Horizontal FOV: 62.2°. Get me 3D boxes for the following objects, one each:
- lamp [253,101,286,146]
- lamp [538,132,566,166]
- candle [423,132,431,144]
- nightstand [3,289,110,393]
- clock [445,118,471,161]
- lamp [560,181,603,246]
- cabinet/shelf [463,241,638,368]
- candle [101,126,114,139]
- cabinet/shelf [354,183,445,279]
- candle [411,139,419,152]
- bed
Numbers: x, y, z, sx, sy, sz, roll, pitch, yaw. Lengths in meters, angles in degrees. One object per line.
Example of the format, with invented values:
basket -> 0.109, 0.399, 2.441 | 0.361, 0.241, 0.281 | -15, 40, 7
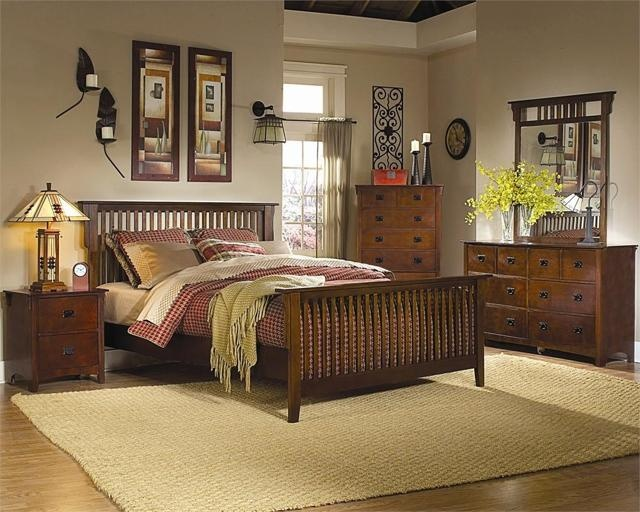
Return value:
lamp -> -0.495, -1.338, 5.206 | 0.301, 0.480, 0.328 | -1, 12, 16
lamp -> 2.309, -1.058, 5.208 | 0.256, 0.352, 0.246 | -7, 17, 0
candle -> 1.280, -1.382, 6.319 | 0.075, 0.165, 0.304 | 0, 1, 16
nightstand -> -1.980, 0.547, 4.059 | 0.704, 0.882, 0.696 | 0, 0, -40
clock -> 1.762, -1.499, 6.805 | 0.046, 0.540, 0.533 | -7, 12, -19
lamp -> 2.375, -0.395, 4.728 | 0.302, 0.581, 0.503 | 0, 1, 14
cabinet/shelf -> 2.026, 0.427, 4.509 | 0.357, 0.755, 0.998 | 0, 0, -39
candle -> -1.761, -1.013, 4.395 | 0.098, 0.100, 0.088 | -2, 5, -18
cabinet/shelf -> 0.917, -0.279, 6.110 | 1.043, 1.410, 0.524 | 0, 0, -3
candle -> 1.151, -1.309, 6.371 | 0.082, 0.183, 0.325 | 0, 1, 8
bed -> -0.235, 0.439, 4.126 | 1.893, 1.256, 2.160 | -2, 3, -37
